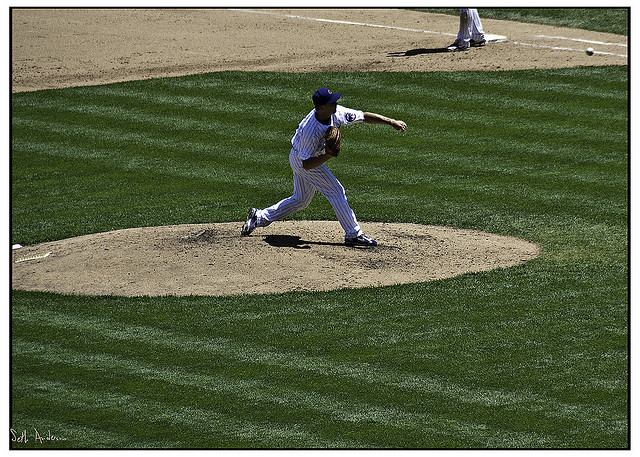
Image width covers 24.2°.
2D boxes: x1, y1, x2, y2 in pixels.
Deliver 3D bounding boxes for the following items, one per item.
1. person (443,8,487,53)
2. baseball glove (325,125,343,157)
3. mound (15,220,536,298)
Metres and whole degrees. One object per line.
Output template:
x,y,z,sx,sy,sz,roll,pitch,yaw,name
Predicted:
3.007,-4.126,30.967,0.693,0.935,1.042,7,15,17,person
0.162,-1.350,23.084,0.177,0.384,0.334,6,-11,-3,baseball glove
-0.910,0.536,23.529,7.715,0.766,2.004,1,13,-4,mound
